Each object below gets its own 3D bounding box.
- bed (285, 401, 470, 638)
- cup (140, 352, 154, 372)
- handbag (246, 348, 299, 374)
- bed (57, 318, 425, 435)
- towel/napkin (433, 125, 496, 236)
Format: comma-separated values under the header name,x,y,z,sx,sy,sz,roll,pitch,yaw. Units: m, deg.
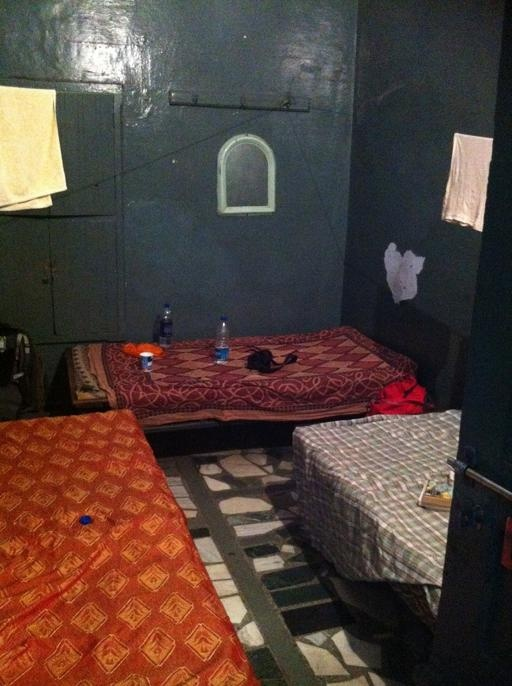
name,x,y,z,sx,sy,sz,roll,pitch,yaw
bed,0.608,0.766,2.322,0.883,0.223,0.874,-4,16,-18
cup,-0.819,0.130,3.931,0.128,0.098,0.125,6,27,-3
handbag,0.124,0.146,4.092,0.304,0.113,0.204,-5,7,-7
bed,-0.127,0.272,3.818,1.770,0.374,1.074,-2,23,-8
towel/napkin,1.152,-0.866,2.781,0.171,0.504,0.324,0,13,-18
